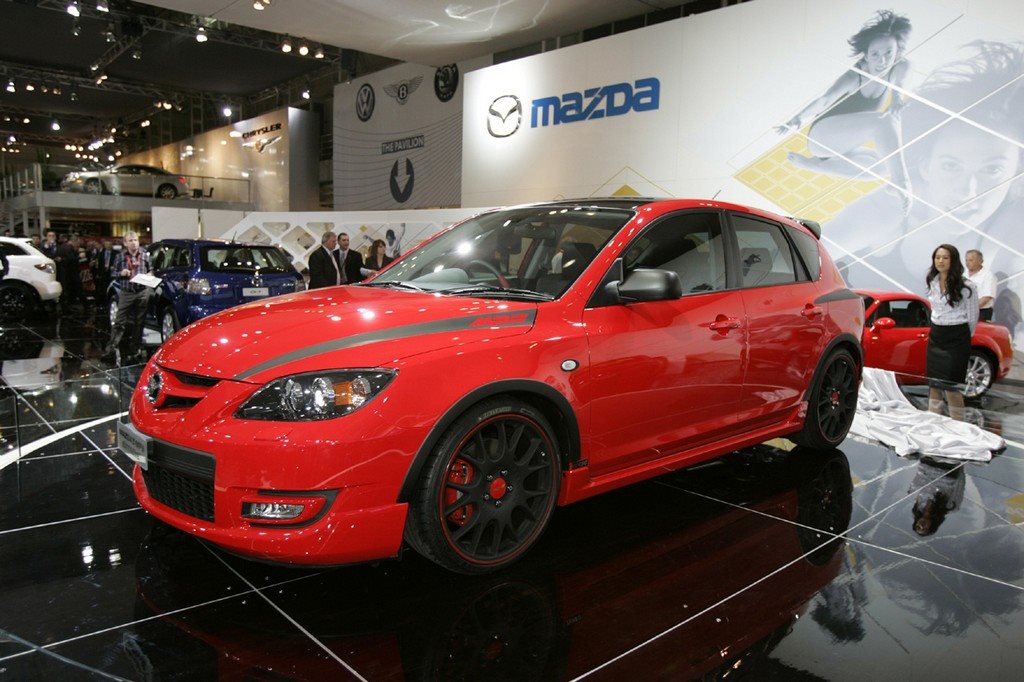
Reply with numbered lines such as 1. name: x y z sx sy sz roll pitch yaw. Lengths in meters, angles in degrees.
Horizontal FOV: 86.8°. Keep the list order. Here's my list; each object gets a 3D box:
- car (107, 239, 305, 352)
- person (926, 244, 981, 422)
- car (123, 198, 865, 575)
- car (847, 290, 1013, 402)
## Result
1. car: -5.111 -0.835 8.657 1.831 1.445 3.191 -6 13 -43
2. person: 4.494 -0.099 5.583 0.498 1.717 0.654 11 15 34
3. car: 0.388 0.084 3.594 4.446 1.376 2.057 -4 7 -33
4. car: 5.123 0.049 7.014 2.171 0.836 1.227 3 3 4
